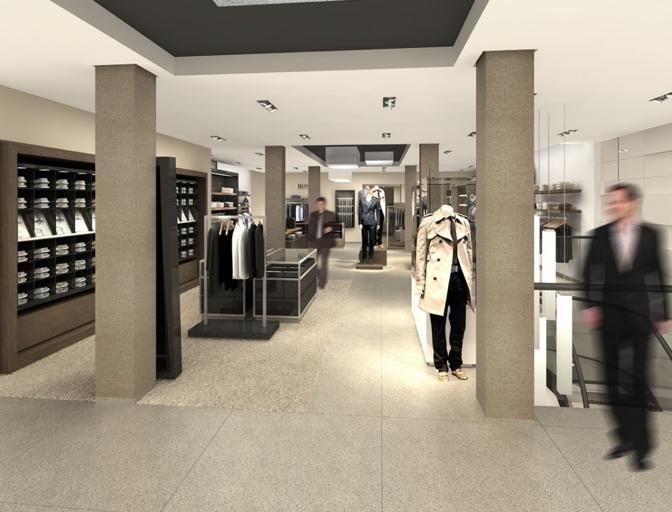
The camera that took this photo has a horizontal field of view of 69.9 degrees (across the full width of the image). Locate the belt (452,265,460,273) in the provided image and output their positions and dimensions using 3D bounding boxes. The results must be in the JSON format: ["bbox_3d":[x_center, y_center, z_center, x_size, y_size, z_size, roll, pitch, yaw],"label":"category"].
[{"bbox_3d":[1.116,0.124,4.464,0.075,0.060,0.076,3,-9,-16],"label":"belt"}]

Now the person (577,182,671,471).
[{"bbox_3d":[2.082,0.493,3.477,0.601,2.020,0.385,6,13,27],"label":"person"}]

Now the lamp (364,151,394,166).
[{"bbox_3d":[1.012,-2.247,11.052,0.619,0.326,1.765,2,13,7],"label":"lamp"}]

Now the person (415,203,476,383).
[{"bbox_3d":[1.064,0.360,4.636,0.590,1.685,0.404,1,12,6],"label":"person"}]

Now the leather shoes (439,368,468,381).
[{"bbox_3d":[1.153,1.160,4.751,0.288,0.122,0.111,-1,0,8],"label":"leather shoes"}]
